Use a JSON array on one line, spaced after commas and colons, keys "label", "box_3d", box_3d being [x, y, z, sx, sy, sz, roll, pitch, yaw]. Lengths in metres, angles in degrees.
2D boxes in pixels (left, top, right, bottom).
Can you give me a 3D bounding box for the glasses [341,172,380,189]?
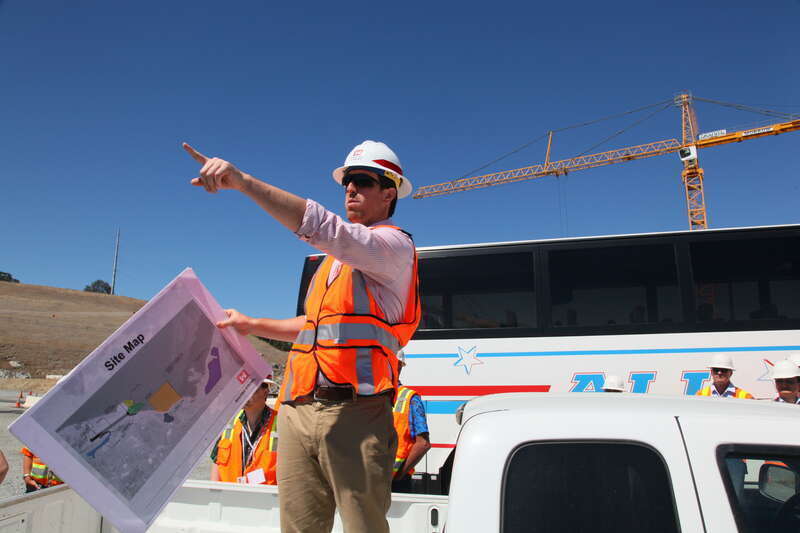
[{"label": "glasses", "box_3d": [-0.228, -0.507, 3.290, 0.114, 0.045, 0.121, 1, -9, 10]}]
